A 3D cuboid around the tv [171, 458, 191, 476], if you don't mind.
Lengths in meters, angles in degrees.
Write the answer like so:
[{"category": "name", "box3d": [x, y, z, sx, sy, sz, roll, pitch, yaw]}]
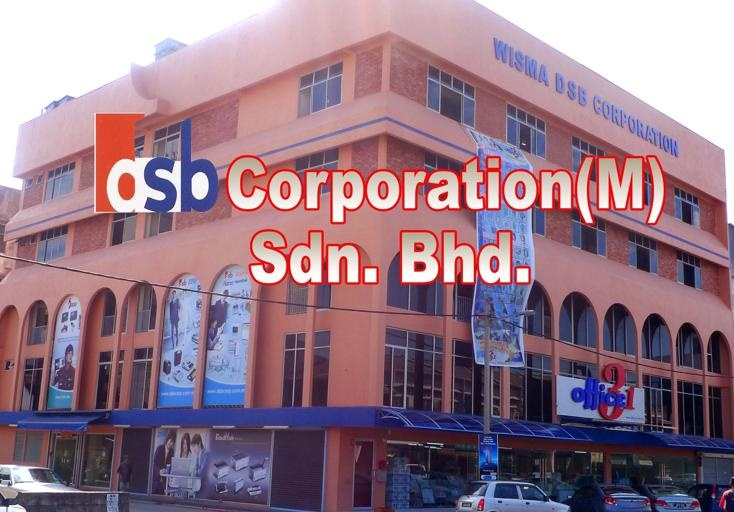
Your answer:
[{"category": "tv", "box3d": [-11.095, 12.666, 45.265, 1.266, 0.939, 0.965, 0, -7, 20]}]
